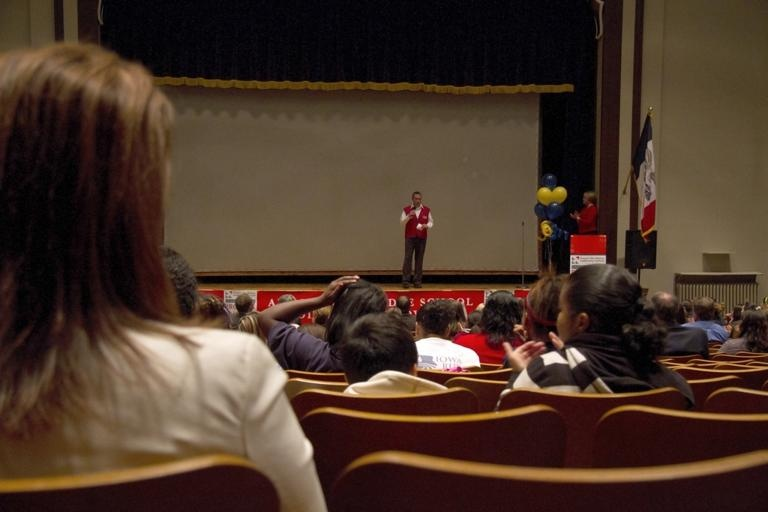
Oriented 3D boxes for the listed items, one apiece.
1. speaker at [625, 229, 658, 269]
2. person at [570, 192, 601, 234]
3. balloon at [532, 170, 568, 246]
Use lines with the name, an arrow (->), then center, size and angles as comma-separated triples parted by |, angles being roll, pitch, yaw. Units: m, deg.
speaker -> 3.670, -0.143, 8.408 | 0.379, 0.588, 0.313 | 7, 34, 31
person -> 3.212, -0.706, 9.449 | 0.368, 0.682, 1.174 | 3, 4, 20
balloon -> 2.778, -0.804, 9.867 | 0.495, 1.139, 1.483 | 3, 4, 15
